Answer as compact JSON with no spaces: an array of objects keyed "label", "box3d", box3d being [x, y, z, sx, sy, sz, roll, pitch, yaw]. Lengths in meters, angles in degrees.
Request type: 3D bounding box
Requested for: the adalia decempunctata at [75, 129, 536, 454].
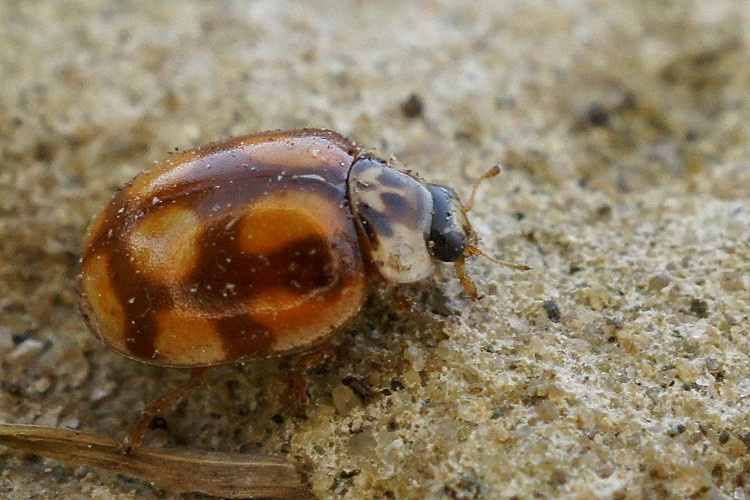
[{"label":"adalia decempunctata","box3d":[-0.416,-0.015,3.616,1.472,0.254,0.801,-12,74,-2]}]
